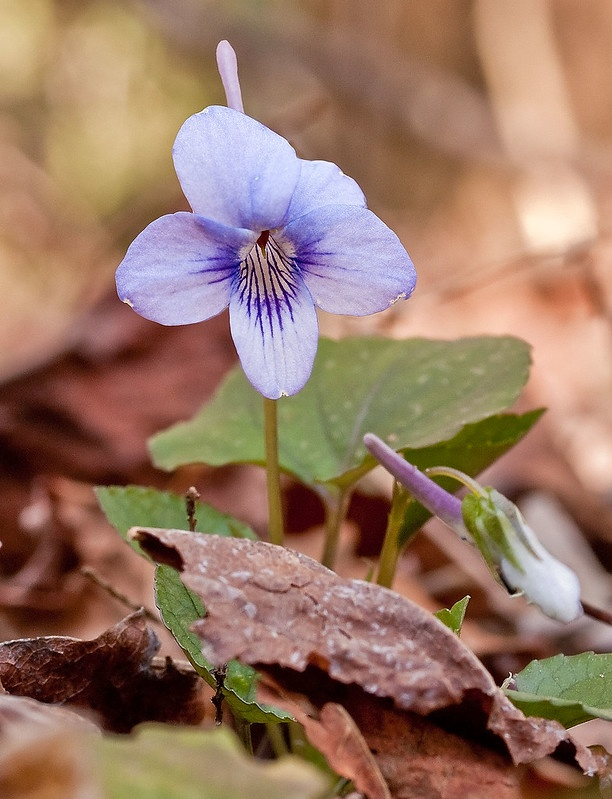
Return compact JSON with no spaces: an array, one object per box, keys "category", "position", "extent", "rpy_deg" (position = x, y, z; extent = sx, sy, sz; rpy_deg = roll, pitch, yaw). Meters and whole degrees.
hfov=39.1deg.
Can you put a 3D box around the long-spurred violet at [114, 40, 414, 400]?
[{"category":"long-spurred violet","position":[-0.053,-0.194,1.074],"extent":[0.372,0.391,0.112],"rpy_deg":[-11,5,-16]}]
